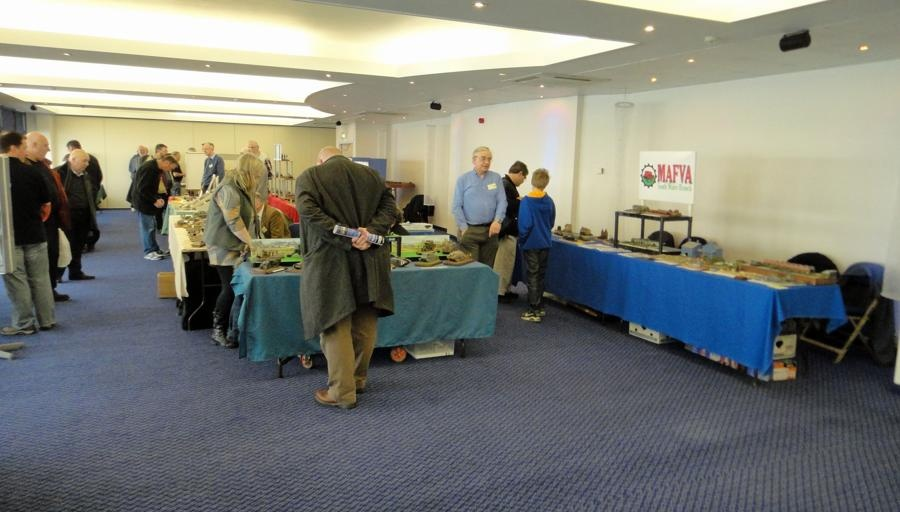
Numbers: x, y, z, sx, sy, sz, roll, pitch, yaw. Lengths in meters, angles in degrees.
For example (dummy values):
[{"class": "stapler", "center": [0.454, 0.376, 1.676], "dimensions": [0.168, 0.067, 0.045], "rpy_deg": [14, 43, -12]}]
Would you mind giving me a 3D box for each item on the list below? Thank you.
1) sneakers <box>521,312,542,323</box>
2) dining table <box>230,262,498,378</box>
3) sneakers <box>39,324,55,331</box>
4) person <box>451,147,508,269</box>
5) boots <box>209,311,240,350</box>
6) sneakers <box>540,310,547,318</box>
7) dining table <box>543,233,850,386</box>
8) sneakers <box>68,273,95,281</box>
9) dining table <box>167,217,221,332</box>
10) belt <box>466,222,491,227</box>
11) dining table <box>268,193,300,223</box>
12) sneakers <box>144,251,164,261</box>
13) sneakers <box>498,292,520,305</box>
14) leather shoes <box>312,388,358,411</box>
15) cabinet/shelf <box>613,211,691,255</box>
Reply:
[{"class": "sneakers", "center": [1.198, 0.897, 8.120], "dimensions": [0.131, 0.162, 0.262], "rpy_deg": [-9, 17, -42]}, {"class": "dining table", "center": [-0.843, 0.651, 6.490], "dimensions": [2.564, 0.610, 1.395], "rpy_deg": [-4, 8, -24]}, {"class": "sneakers", "center": [-5.211, 0.934, 7.285], "dimensions": [0.068, 0.126, 0.190], "rpy_deg": [2, -5, -12]}, {"class": "person", "center": [0.444, -0.670, 8.146], "dimensions": [0.765, 1.755, 0.566], "rpy_deg": [1, 14, 5]}, {"class": "boots", "center": [-2.805, 0.935, 7.065], "dimensions": [0.474, 0.402, 0.215], "rpy_deg": [10, 9, 40]}, {"class": "sneakers", "center": [1.356, 0.847, 8.225], "dimensions": [0.089, 0.140, 0.152], "rpy_deg": [0, -5, -1]}, {"class": "dining table", "center": [2.882, 0.582, 7.361], "dimensions": [0.706, 1.005, 3.212], "rpy_deg": [-13, 18, -43]}, {"class": "sneakers", "center": [-6.109, 0.336, 9.370], "dimensions": [0.435, 0.160, 0.147], "rpy_deg": [-3, 7, -29]}, {"class": "dining table", "center": [-3.396, 0.307, 7.498], "dimensions": [0.608, 0.589, 1.606], "rpy_deg": [0, 10, -25]}, {"class": "belt", "center": [0.429, -0.435, 8.112], "dimensions": [0.318, 0.067, 0.057], "rpy_deg": [-2, 14, -8]}, {"class": "dining table", "center": [-2.980, -0.835, 10.123], "dimensions": [0.235, 0.211, 1.078], "rpy_deg": [-9, 21, -26]}, {"class": "sneakers", "center": [-5.725, 0.018, 10.952], "dimensions": [0.417, 0.167, 0.161], "rpy_deg": [-2, 6, -6]}, {"class": "sneakers", "center": [0.941, 0.681, 8.984], "dimensions": [0.392, 0.150, 0.138], "rpy_deg": [4, -4, -33]}, {"class": "leather shoes", "center": [-1.217, 1.507, 5.985], "dimensions": [0.413, 0.169, 0.188], "rpy_deg": [15, 14, 32]}, {"class": "cabinet/shelf", "center": [2.977, -0.374, 8.025], "dimensions": [0.823, 0.737, 1.305], "rpy_deg": [-1, 4, -24]}]
